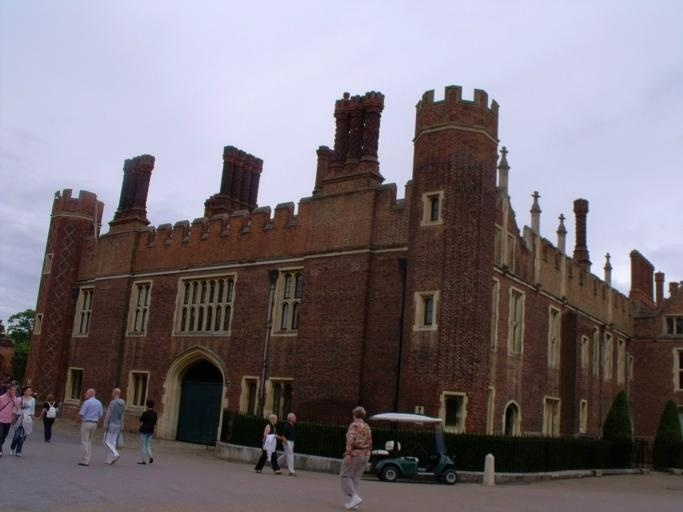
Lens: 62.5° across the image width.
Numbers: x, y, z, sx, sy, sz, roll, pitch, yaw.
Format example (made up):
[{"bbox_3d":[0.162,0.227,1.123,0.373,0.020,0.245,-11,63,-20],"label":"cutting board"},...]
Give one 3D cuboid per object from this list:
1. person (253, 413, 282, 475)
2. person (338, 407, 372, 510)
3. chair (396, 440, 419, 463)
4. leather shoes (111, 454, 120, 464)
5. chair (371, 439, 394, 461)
[{"bbox_3d":[-2.029,5.277,15.951,0.667,1.576,1.241,5,-14,-6],"label":"person"},{"bbox_3d":[0.256,3.491,9.827,0.484,1.680,0.891,3,-14,2],"label":"person"},{"bbox_3d":[1.862,5.481,15.781,0.570,0.521,0.546,2,-14,7],"label":"chair"},{"bbox_3d":[-5.436,4.817,13.409,0.153,0.243,0.538,11,-16,-27],"label":"leather shoes"},{"bbox_3d":[1.213,5.453,15.918,0.728,0.776,0.513,6,-14,-6],"label":"chair"}]
